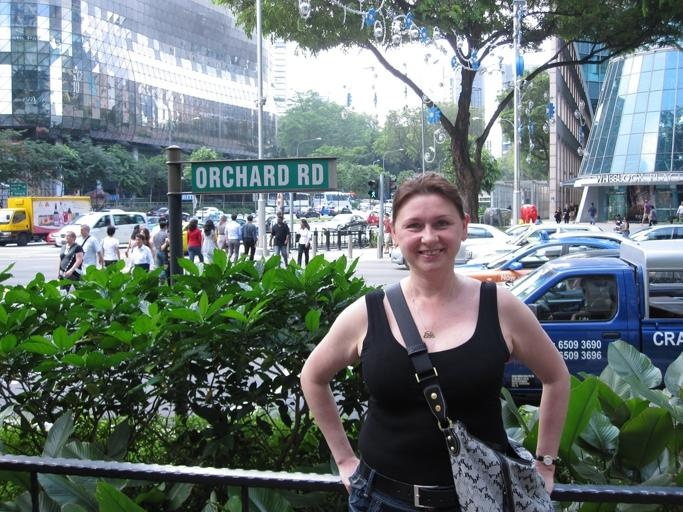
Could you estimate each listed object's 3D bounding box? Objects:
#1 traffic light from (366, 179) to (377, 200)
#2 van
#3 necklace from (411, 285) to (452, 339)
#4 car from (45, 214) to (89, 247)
[{"bbox_3d":[1.023,-2.164,25.538,0.446,1.017,0.366,0,1,6],"label":"traffic light"},{"bbox_3d":[-7.981,-0.852,26.631,1.609,1.282,3.438,-3,-3,26],"label":"van"},{"bbox_3d":[0.337,0.232,3.109,0.073,0.036,0.246,-6,48,-2],"label":"necklace"},{"bbox_3d":[-10.884,-1.044,30.867,1.404,1.194,3.263,0,4,12],"label":"car"}]
